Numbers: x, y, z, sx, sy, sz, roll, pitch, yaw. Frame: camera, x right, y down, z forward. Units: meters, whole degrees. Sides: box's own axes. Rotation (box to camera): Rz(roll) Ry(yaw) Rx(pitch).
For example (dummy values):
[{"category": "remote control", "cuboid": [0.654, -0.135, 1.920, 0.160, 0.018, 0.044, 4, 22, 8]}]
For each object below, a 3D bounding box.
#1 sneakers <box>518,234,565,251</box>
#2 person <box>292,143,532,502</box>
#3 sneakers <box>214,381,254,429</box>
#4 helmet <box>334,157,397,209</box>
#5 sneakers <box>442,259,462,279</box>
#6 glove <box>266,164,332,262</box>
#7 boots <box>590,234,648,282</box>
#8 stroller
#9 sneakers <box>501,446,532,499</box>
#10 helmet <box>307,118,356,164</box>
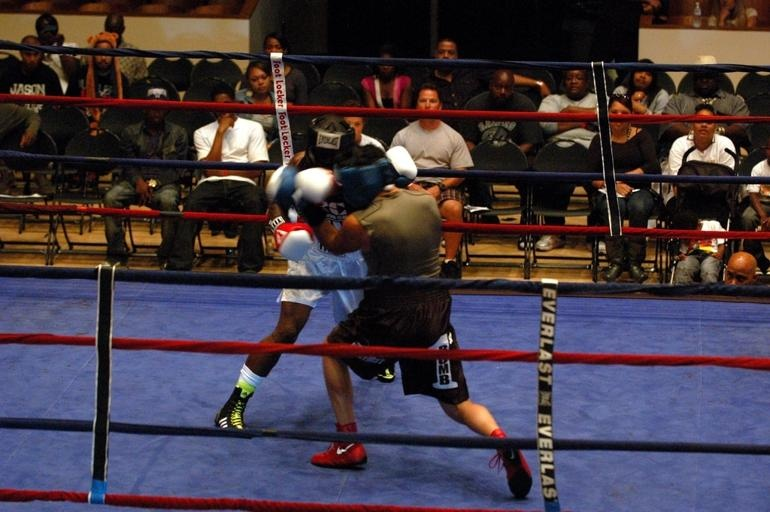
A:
[{"category": "sneakers", "cuboid": [1.259, -0.120, 7.781, 0.466, 0.122, 0.134, 2, 11, -21]}, {"category": "person", "cuboid": [0.169, 0.285, 4.827, 1.105, 1.662, 0.545, 8, 7, 20]}, {"category": "sneakers", "cuboid": [-0.827, 0.790, 5.249, 0.194, 0.222, 0.298, 4, 6, -8]}, {"category": "helmet", "cuboid": [-0.093, -0.357, 4.727, 0.384, 0.186, 0.235, -1, 9, 7]}, {"category": "sneakers", "cuboid": [0.461, 0.082, 6.858, 0.199, 0.132, 0.397, -1, 2, 3]}, {"category": "glove", "cuboid": [-0.457, -0.227, 4.889, 0.291, 0.479, 0.536, 4, 6, -14]}, {"category": "boots", "cuboid": [1.812, 0.013, 7.348, 0.429, 0.408, 0.426, 1, -4, 12]}, {"category": "stroller", "cuboid": [2.406, -0.342, 7.308, 0.636, 1.206, 0.536, 6, -24, 25]}, {"category": "sneakers", "cuboid": [0.651, 1.053, 4.806, 0.171, 0.261, 0.189, 6, 7, 6]}, {"category": "helmet", "cuboid": [-0.282, -0.603, 5.005, 0.276, 0.227, 0.263, 6, 36, 0]}]
